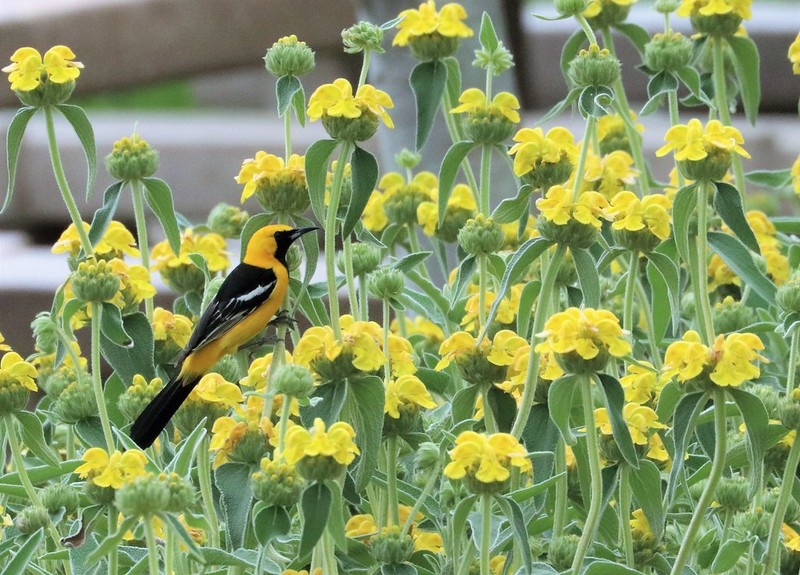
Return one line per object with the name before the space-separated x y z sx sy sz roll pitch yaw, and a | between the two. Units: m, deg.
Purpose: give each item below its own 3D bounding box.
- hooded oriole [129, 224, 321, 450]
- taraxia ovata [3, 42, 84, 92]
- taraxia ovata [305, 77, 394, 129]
hooded oriole | -0.575 0.176 5.103 0.836 0.360 0.222 -40 31 -23
taraxia ovata | -1.160 -0.713 5.020 0.237 0.147 0.182 -7 6 -15
taraxia ovata | -0.121 -0.592 4.864 0.231 0.093 0.244 10 -11 -18
